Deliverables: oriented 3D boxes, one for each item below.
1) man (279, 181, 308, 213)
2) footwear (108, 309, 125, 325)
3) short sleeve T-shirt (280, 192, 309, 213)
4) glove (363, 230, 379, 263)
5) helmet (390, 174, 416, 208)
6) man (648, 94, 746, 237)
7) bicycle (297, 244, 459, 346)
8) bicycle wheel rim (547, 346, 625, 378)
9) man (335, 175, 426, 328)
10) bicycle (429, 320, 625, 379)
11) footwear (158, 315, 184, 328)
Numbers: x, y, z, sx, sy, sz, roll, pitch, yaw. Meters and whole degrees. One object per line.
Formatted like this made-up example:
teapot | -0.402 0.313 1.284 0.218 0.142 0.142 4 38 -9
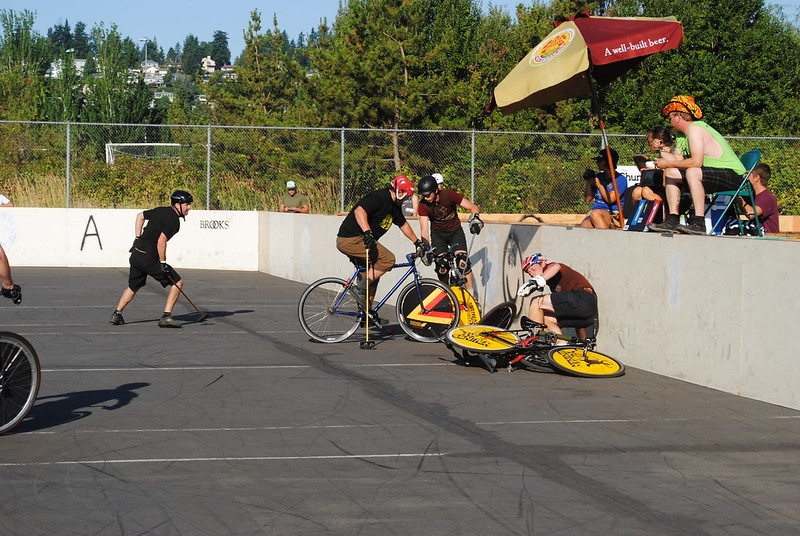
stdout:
man | -2.734 -1.865 23.915 0.695 0.763 0.594 -1 11 -6
footwear | -4.562 0.786 15.094 0.146 0.171 0.374 4 7 2
short sleeve T-shirt | -2.720 -1.667 23.956 0.617 0.454 0.604 0 -10 0
glove | -0.421 -0.321 13.430 0.135 0.362 0.263 -15 23 -17
helmet | 0.035 -1.136 13.488 0.323 0.368 0.425 0 11 -4
man | 3.933 -1.392 12.336 1.123 1.712 1.579 4 11 19
bicycle | -0.301 0.468 13.846 2.462 1.307 0.948 2 -8 -16
bicycle wheel rim | 2.381 1.191 12.053 0.966 0.326 0.545 2 11 7
man | -0.267 -0.241 13.885 1.446 2.297 1.128 4 7 -15
bicycle | 1.807 1.096 12.281 1.885 0.904 1.151 8 8 23
footwear | -3.660 0.848 14.964 0.375 0.176 0.200 1 3 -2
